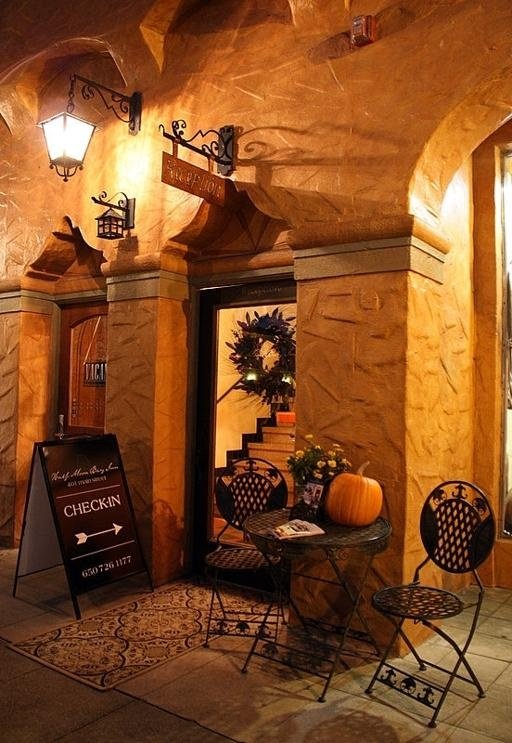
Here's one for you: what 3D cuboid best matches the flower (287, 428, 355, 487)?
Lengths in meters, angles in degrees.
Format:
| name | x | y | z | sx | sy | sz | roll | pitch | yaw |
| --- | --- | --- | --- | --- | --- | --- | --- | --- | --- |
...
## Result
| name | x | y | z | sx | sy | sz | roll | pitch | yaw |
| --- | --- | --- | --- | --- | --- | --- | --- | --- | --- |
| flower | 0.320 | 0.509 | 3.155 | 0.284 | 0.270 | 0.311 | -5 | -4 | -5 |

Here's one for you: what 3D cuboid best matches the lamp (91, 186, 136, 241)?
| name | x | y | z | sx | sy | sz | roll | pitch | yaw |
| --- | --- | --- | --- | --- | --- | --- | --- | --- | --- |
| lamp | -1.077 | -1.186 | 4.434 | 0.181 | 0.372 | 0.329 | -4 | -5 | 37 |

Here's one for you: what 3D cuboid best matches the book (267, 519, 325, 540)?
| name | x | y | z | sx | sy | sz | roll | pitch | yaw |
| --- | --- | --- | --- | --- | --- | --- | --- | --- | --- |
| book | 0.162 | 0.730 | 2.737 | 0.245 | 0.040 | 0.211 | 3 | -4 | -34 |

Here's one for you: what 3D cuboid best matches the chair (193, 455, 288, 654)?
| name | x | y | z | sx | sy | sz | roll | pitch | yaw |
| --- | --- | --- | --- | --- | --- | --- | --- | --- | --- |
| chair | -0.077 | 1.106 | 3.596 | 0.586 | 1.021 | 0.544 | 5 | 12 | 44 |

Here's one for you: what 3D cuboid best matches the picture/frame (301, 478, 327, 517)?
| name | x | y | z | sx | sy | sz | roll | pitch | yaw |
| --- | --- | --- | --- | --- | --- | --- | --- | --- | --- |
| picture/frame | 0.288 | 0.635 | 3.003 | 0.144 | 0.252 | 0.139 | 3 | -6 | -7 |

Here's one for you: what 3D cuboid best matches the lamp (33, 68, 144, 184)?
| name | x | y | z | sx | sy | sz | roll | pitch | yaw |
| --- | --- | --- | --- | --- | --- | --- | --- | --- | --- |
| lamp | -1.219 | -1.958 | 4.507 | 0.695 | 1.104 | 1.072 | 1 | -4 | -12 |
